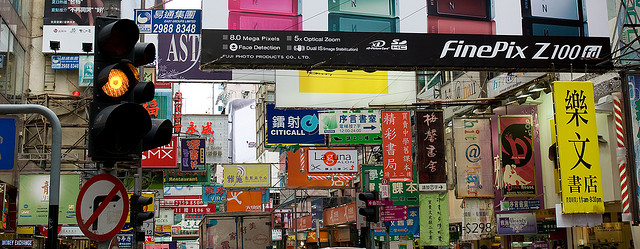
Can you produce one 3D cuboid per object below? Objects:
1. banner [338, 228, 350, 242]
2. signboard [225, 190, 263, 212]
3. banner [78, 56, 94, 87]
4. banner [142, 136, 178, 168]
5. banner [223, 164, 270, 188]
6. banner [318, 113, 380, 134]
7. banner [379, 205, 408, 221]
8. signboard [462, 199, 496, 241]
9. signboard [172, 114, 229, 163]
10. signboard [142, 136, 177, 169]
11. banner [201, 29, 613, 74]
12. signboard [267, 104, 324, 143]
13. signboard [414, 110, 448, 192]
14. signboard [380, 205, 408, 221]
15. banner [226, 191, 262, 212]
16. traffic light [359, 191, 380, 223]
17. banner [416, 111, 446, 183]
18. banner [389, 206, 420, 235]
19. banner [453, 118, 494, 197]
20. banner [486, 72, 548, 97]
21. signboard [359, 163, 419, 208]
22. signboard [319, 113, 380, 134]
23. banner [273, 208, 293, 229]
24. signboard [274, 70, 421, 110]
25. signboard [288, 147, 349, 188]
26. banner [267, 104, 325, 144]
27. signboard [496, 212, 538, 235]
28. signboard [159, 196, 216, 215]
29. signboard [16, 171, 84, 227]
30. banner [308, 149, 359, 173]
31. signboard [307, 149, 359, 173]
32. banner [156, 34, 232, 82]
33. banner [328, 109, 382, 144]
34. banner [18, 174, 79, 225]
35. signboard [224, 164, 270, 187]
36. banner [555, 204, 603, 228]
[{"bbox_3d":[2.060,9.243,78.777,0.978,1.223,1.576,4,-11,-14],"label":"banner"},{"bbox_3d":[-5.242,5.862,72.508,3.604,1.663,1.834,-4,-6,36],"label":"signboard"},{"bbox_3d":[-15.859,-3.515,63.445,0.827,2.204,1.595,9,-13,-44],"label":"banner"},{"bbox_3d":[-10.187,1.812,59.208,3.537,2.262,0.370,-1,-12,-1],"label":"banner"},{"bbox_3d":[-5.395,3.844,70.367,4.651,1.844,0.302,-2,-6,33],"label":"banner"},{"bbox_3d":[1.995,-0.001,63.642,0.105,1.638,5.959,-4,4,-45],"label":"banner"},{"bbox_3d":[4.388,5.265,57.022,0.316,1.217,2.685,-7,-9,42],"label":"banner"},{"bbox_3d":[10.388,6.205,61.369,2.056,2.606,0.628,-1,-10,6],"label":"signboard"},{"bbox_3d":[-9.331,1.143,73.921,5.801,3.694,1.858,0,-15,-13],"label":"signboard"},{"bbox_3d":[-10.208,1.845,59.332,3.674,2.351,0.392,0,-15,-2],"label":"signboard"},{"bbox_3d":[6.379,-4.506,56.568,28.373,2.116,0.291,-1,-2,-24],"label":"banner"},{"bbox_3d":[-1.752,0.023,64.096,0.633,2.742,6.004,3,1,41],"label":"signboard"},{"bbox_3d":[7.280,1.714,61.770,1.967,5.342,1.064,-1,-10,1],"label":"signboard"},{"bbox_3d":[4.412,5.338,56.820,1.554,0.642,0.162,0,-15,-2],"label":"signboard"},{"bbox_3d":[-5.401,5.842,72.434,3.274,1.590,1.652,-4,-6,34],"label":"banner"},{"bbox_3d":[3.000,4.997,56.936,1.209,1.907,0.449,0,-10,0],"label":"traffic light"},{"bbox_3d":[7.560,1.571,61.883,0.755,5.214,2.596,2,-4,-37],"label":"banner"},{"bbox_3d":[5.829,6.395,63.857,0.364,2.206,3.298,-1,-8,-33],"label":"banner"},{"bbox_3d":[10.073,2.136,61.430,2.274,5.035,0.874,-1,-10,3],"label":"banner"},{"bbox_3d":[13.132,-2.793,62.068,0.741,0.930,5.025,24,-21,-30],"label":"banner"},{"bbox_3d":[4.765,4.094,62.007,4.428,2.566,1.254,0,-9,-5],"label":"signboard"},{"bbox_3d":[2.028,0.041,63.749,5.761,1.684,0.103,1,-2,-40],"label":"signboard"},{"bbox_3d":[-2.748,8.277,80.882,1.435,1.656,2.398,8,-12,-44],"label":"banner"},{"bbox_3d":[1.639,-2.890,62.977,11.365,3.000,0.170,-1,3,-38],"label":"signboard"},{"bbox_3d":[0.254,2.932,65.996,6.305,2.818,0.137,-2,-5,39],"label":"signboard"},{"bbox_3d":[-1.698,0.018,64.160,0.637,2.691,6.175,2,1,40],"label":"banner"},{"bbox_3d":[12.738,6.438,61.458,3.769,1.577,0.402,3,-9,-35],"label":"signboard"},{"bbox_3d":[-11.423,7.136,83.373,1.115,1.517,8.370,15,-15,-43],"label":"signboard"},{"bbox_3d":[-18.220,4.982,62.570,0.613,3.565,5.329,-5,-7,34],"label":"signboard"},{"bbox_3d":[0.601,2.561,66.136,0.700,1.993,5.529,1,-2,43],"label":"banner"},{"bbox_3d":[0.638,2.626,66.255,0.703,2.013,5.645,-1,-2,42],"label":"signboard"},{"bbox_3d":[-7.823,-4.337,60.699,6.282,3.186,0.622,-2,13,-45],"label":"banner"},{"bbox_3d":[2.251,0.072,63.629,3.478,1.448,0.059,0,-7,-6],"label":"banner"},{"bbox_3d":[-17.674,4.934,61.855,5.722,3.522,0.533,-4,-8,31],"label":"banner"},{"bbox_3d":[-5.467,3.833,70.409,4.719,1.877,0.203,-3,-6,35],"label":"signboard"},{"bbox_3d":[15.747,5.579,57.584,0.526,1.535,3.827,21,-15,-19],"label":"banner"}]
